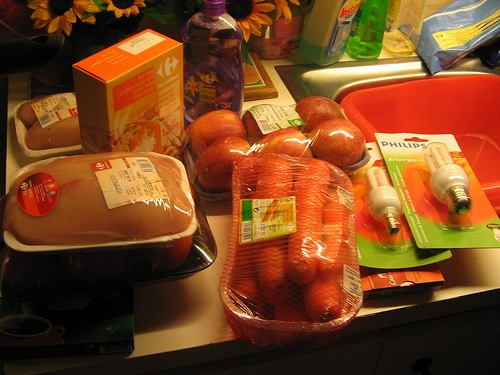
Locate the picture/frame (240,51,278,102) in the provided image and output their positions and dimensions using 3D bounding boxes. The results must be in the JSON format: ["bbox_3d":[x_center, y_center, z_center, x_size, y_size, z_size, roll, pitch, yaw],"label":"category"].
[{"bbox_3d":[0.017,-0.262,0.941,0.113,0.022,0.155,-7,58,-21],"label":"picture/frame"}]

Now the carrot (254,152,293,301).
[{"bbox_3d":[0.036,0.056,0.589,0.062,0.059,0.199,11,61,-13],"label":"carrot"}]

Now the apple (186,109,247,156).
[{"bbox_3d":[-0.062,-0.108,0.774,0.111,0.092,0.091,-18,88,0],"label":"apple"}]

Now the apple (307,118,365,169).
[{"bbox_3d":[0.156,-0.078,0.700,0.107,0.090,0.090,3,70,12],"label":"apple"}]

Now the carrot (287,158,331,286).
[{"bbox_3d":[0.113,0.052,0.611,0.053,0.054,0.197,-11,51,39],"label":"carrot"}]

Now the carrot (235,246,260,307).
[{"bbox_3d":[-0.002,0.135,0.558,0.037,0.023,0.068,0,65,-7],"label":"carrot"}]

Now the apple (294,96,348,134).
[{"bbox_3d":[0.132,-0.157,0.803,0.110,0.090,0.065,-7,87,-17],"label":"apple"}]

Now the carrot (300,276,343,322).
[{"bbox_3d":[0.103,0.158,0.544,0.050,0.016,0.062,3,73,-5],"label":"carrot"}]

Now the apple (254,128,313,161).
[{"bbox_3d":[0.063,-0.088,0.692,0.080,0.065,0.065,-19,105,-10],"label":"apple"}]

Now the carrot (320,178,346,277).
[{"bbox_3d":[0.128,0.067,0.594,0.039,0.036,0.168,17,46,-1],"label":"carrot"}]
